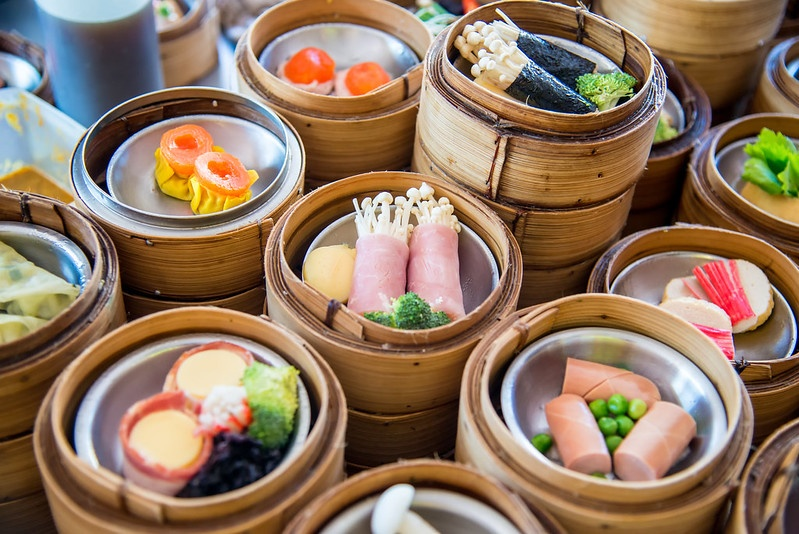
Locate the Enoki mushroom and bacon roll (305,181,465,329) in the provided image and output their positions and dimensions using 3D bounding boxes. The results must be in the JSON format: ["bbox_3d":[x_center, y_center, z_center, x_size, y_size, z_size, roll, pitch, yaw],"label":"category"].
[{"bbox_3d":[-0.054,-0.055,3.161,0.766,0.743,0.543,-8,3,12],"label":"Enoki mushroom and bacon roll"}]

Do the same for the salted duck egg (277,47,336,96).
[{"bbox_3d":[-0.548,-1.179,3.840,0.297,0.110,0.307,38,64,2],"label":"salted duck egg"}]

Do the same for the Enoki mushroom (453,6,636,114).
[{"bbox_3d":[0.713,-0.933,3.402,0.877,0.311,0.551,25,47,1],"label":"Enoki mushroom"}]

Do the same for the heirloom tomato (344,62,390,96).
[{"bbox_3d":[-0.211,-1.139,3.845,0.220,0.117,0.244,6,59,0],"label":"heirloom tomato"}]

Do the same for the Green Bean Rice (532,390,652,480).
[{"bbox_3d":[0.759,0.646,2.806,0.418,0.290,0.660,3,25,7],"label":"Green Bean Rice"}]
